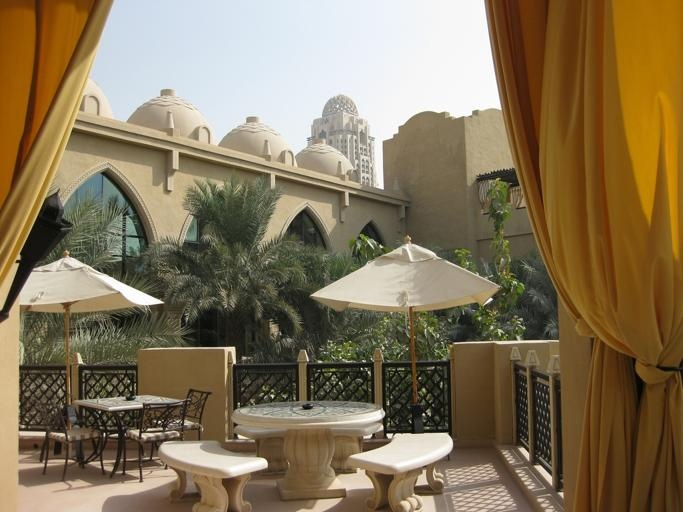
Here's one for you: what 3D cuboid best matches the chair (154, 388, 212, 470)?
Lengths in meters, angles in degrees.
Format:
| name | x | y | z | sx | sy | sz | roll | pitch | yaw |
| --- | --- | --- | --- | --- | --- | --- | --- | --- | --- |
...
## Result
| name | x | y | z | sx | sy | sz | roll | pitch | yaw |
| --- | --- | --- | --- | --- | --- | --- | --- | --- | --- |
| chair | -1.771 | 1.941 | 7.533 | 0.570 | 1.002 | 0.640 | -8 | -17 | 39 |

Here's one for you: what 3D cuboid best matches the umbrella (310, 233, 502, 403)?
| name | x | y | z | sx | sy | sz | roll | pitch | yaw |
| --- | --- | --- | --- | --- | --- | --- | --- | --- | --- |
| umbrella | 0.662 | 0.550 | 7.071 | 1.779 | 1.760 | 1.820 | 0 | -13 | -30 |

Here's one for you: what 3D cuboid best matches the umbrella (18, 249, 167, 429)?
| name | x | y | z | sx | sy | sz | roll | pitch | yaw |
| --- | --- | --- | --- | --- | --- | --- | --- | --- | --- |
| umbrella | -3.154 | 0.897 | 8.005 | 1.758 | 1.741 | 1.867 | 5 | -8 | -37 |
